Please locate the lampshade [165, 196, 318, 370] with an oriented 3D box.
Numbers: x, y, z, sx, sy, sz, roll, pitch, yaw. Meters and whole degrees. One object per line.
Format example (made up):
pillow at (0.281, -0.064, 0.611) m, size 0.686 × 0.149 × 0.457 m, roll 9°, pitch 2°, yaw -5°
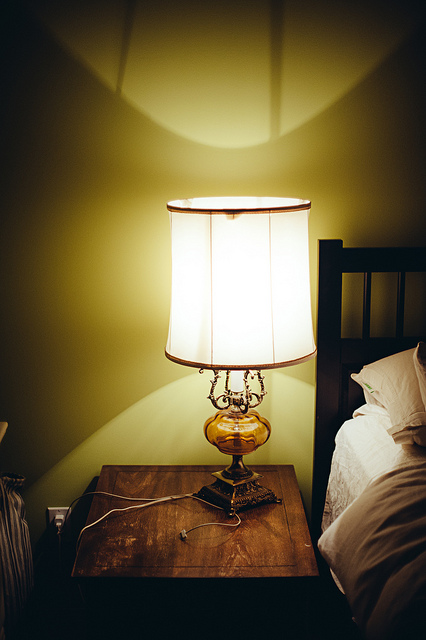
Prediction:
lampshade at (0.062, -0.092, 1.023) m, size 0.280 × 0.323 × 0.300 m, roll 2°, pitch 17°, yaw 10°
